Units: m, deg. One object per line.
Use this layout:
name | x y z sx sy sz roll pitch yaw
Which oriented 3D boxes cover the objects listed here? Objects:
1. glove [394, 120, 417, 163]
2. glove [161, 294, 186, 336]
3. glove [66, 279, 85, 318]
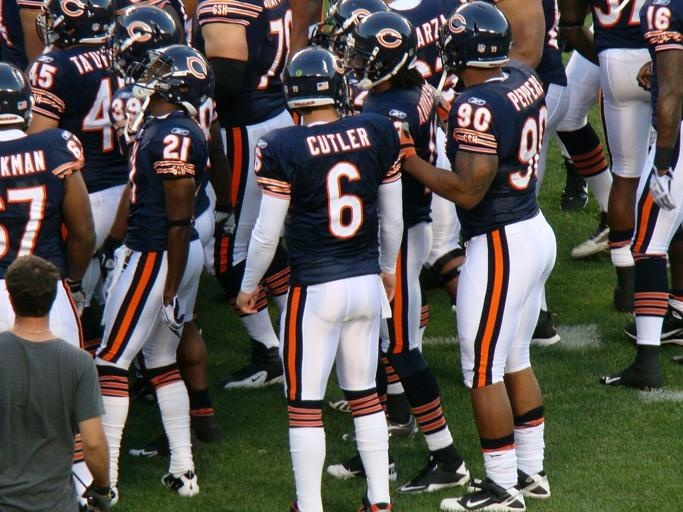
glove | 0.343 -0.625 5.917 0.177 0.190 0.105 -15 11 -3
glove | -0.953 0.348 6.167 0.092 0.271 0.109 6 -31 -41
glove | -1.538 0.244 6.169 0.065 0.210 0.189 -13 7 -5
